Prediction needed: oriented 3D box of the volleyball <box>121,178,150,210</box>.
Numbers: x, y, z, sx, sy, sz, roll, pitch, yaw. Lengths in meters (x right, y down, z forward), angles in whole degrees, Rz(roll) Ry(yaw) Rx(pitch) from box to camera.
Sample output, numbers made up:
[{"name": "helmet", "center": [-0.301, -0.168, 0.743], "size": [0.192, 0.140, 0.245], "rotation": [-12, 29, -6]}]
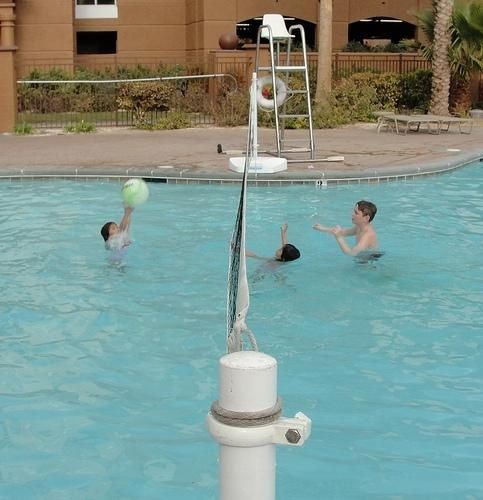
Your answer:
[{"name": "volleyball", "center": [-1.044, -0.555, 6.505], "size": [0.207, 0.251, 0.163], "rotation": [5, 12, 33]}]

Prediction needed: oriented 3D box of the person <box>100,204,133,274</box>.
[{"name": "person", "center": [-1.303, -0.102, 7.012], "size": [0.382, 0.650, 0.377], "rotation": [0, 16, -8]}]

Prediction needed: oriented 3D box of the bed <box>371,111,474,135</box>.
[{"name": "bed", "center": [4.817, -3.335, 17.690], "size": [2.988, 0.627, 1.085], "rotation": [-3, 16, 4]}]

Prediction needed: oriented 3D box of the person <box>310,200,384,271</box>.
[{"name": "person", "center": [1.012, -0.156, 6.720], "size": [0.613, 0.701, 0.568], "rotation": [15, 18, 43]}]
